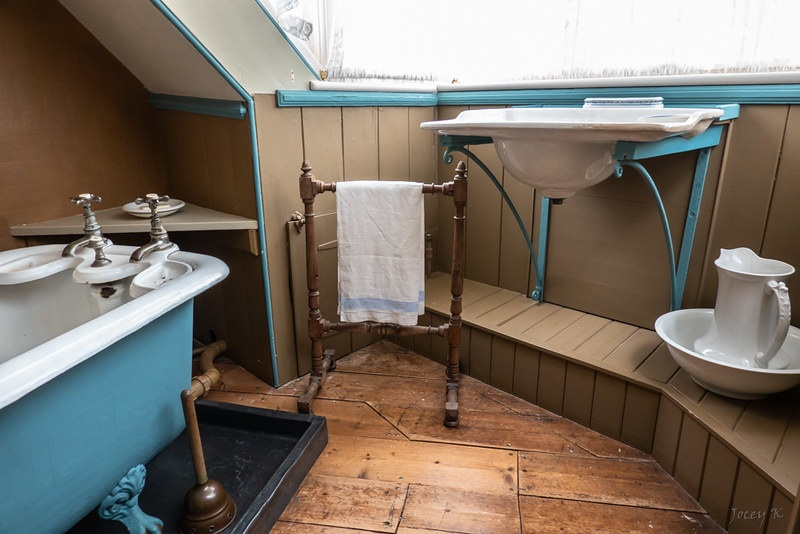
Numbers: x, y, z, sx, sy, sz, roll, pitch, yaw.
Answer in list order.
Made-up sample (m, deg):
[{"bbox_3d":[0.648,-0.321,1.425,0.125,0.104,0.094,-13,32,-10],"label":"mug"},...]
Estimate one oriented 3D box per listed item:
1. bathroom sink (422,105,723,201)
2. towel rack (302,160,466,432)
[{"bbox_3d":[0.593,-0.402,1.993,0.901,0.319,0.675,15,23,42],"label":"bathroom sink"},{"bbox_3d":[-0.066,0.082,2.202,0.709,0.959,0.566,2,13,8],"label":"towel rack"}]
